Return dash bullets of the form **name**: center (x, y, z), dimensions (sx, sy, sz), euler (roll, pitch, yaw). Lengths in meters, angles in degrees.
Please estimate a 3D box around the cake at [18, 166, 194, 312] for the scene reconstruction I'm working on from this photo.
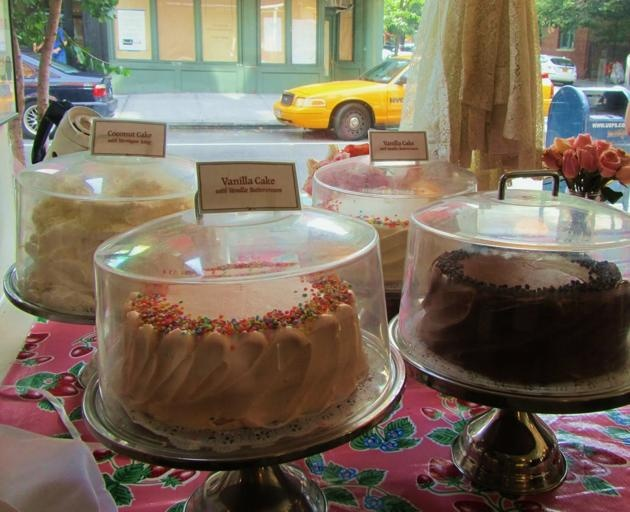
- **cake**: center (-0.546, -0.058, 1.416), dimensions (0.442, 0.267, 0.398), euler (0, 10, -7)

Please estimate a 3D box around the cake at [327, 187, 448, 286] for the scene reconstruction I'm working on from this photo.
- **cake**: center (0.198, -0.071, 1.450), dimensions (0.304, 0.213, 0.273), euler (-2, 10, -5)
